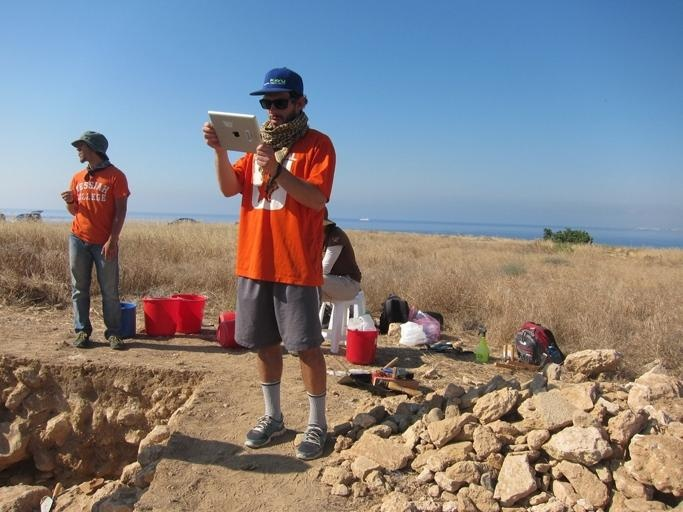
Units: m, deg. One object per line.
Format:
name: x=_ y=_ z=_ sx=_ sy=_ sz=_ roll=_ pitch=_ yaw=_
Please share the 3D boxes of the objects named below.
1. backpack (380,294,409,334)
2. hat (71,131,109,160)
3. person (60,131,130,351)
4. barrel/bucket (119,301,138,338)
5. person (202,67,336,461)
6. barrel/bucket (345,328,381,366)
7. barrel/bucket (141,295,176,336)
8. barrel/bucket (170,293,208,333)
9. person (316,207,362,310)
backpack: x=0.827 y=0.920 z=10.048 sx=0.356 sy=0.603 sz=0.543 roll=-3 pitch=6 yaw=-13
hat: x=-3.136 y=-1.368 z=8.042 sx=0.380 sy=0.348 sz=0.227 roll=-8 pitch=16 yaw=-24
person: x=-3.120 y=-0.203 z=8.204 sx=0.869 sy=2.749 sz=0.750 roll=-3 pitch=14 yaw=-8
barrel/bucket: x=-2.903 y=0.912 z=8.795 sx=0.287 sy=0.449 sz=0.318 roll=2 pitch=3 yaw=-12
person: x=-0.627 y=0.048 z=6.090 sx=1.116 sy=3.685 sz=1.087 roll=0 pitch=0 yaw=21
barrel/bucket: x=0.262 y=1.169 z=8.216 sx=0.425 sy=0.466 sz=0.408 roll=1 pitch=-4 yaw=0
barrel/bucket: x=-2.484 y=0.868 z=9.030 sx=0.478 sy=0.545 sz=0.414 roll=0 pitch=1 yaw=13
barrel/bucket: x=-2.158 y=0.842 z=9.287 sx=0.481 sy=0.520 sz=0.550 roll=0 pitch=-4 yaw=-1
person: x=-0.019 y=0.130 z=8.622 sx=0.955 sy=1.600 sz=0.752 roll=1 pitch=4 yaw=10
